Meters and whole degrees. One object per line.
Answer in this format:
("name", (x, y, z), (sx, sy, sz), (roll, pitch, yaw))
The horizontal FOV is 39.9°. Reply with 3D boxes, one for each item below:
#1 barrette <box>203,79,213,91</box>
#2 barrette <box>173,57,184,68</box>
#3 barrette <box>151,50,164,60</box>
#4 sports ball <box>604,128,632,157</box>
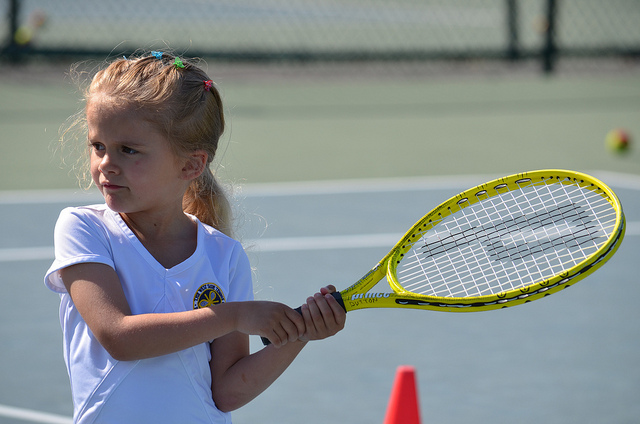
("barrette", (-0.514, -0.575, 4.050), (0.027, 0.046, 0.016), (11, 0, 20))
("barrette", (-0.642, -0.671, 4.017), (0.046, 0.040, 0.041), (14, 1, 39))
("barrette", (-0.743, -0.715, 4.047), (0.036, 0.024, 0.044), (4, 16, -45))
("sports ball", (2.515, -0.592, 7.534), (0.212, 0.233, 0.267), (6, 37, 1))
